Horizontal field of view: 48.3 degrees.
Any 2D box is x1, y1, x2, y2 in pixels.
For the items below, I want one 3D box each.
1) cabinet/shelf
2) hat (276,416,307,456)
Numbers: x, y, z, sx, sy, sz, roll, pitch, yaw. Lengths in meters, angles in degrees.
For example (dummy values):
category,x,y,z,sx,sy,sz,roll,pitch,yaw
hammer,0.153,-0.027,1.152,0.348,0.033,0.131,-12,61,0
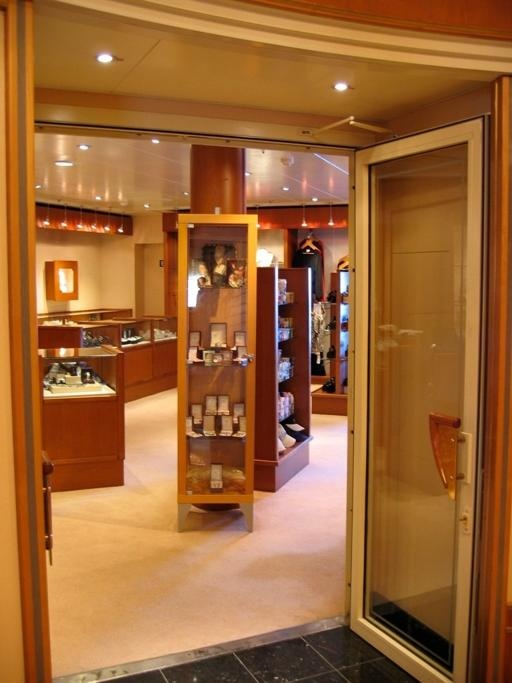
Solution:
category,x,y,z,sx,sy,sz,roll,pitch,yaw
cabinet/shelf,-0.546,0.254,5.770,2.694,2.242,3.731,1,3,3
hat,0.333,0.884,5.431,0.234,0.120,0.338,-16,-22,3
